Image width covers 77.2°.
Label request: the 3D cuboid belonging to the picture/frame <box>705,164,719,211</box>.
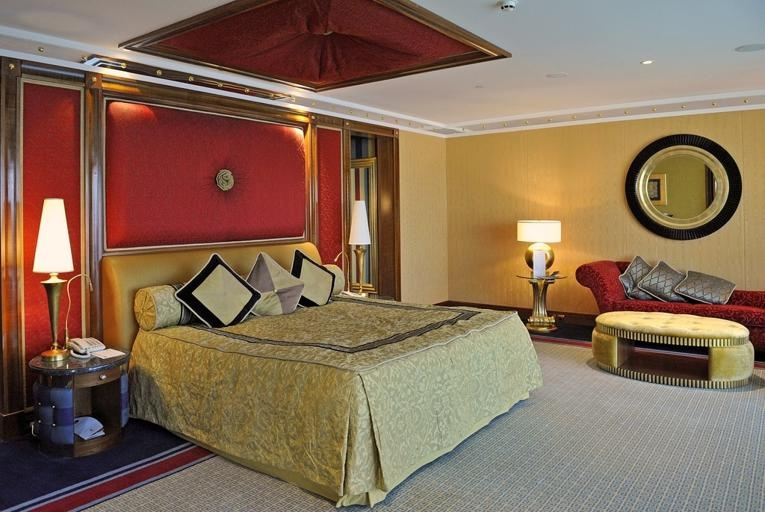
[{"bbox_3d":[4.640,-0.969,6.771,0.159,0.555,0.084,5,12,33],"label":"picture/frame"}]

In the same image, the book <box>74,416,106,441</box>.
[{"bbox_3d":[-2.466,1.433,3.963,0.202,0.057,0.150,6,6,33],"label":"book"}]

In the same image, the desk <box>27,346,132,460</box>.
[{"bbox_3d":[-2.475,1.122,4.140,0.827,0.803,0.892,2,4,28],"label":"desk"}]

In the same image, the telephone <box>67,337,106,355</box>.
[{"bbox_3d":[-2.559,0.762,4.074,0.207,0.064,0.155,9,9,33],"label":"telephone"}]

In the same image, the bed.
[{"bbox_3d":[-0.808,0.958,4.083,2.465,1.017,2.446,1,3,37],"label":"bed"}]

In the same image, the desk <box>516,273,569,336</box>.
[{"bbox_3d":[2.424,0.691,7.115,0.850,0.861,0.825,-2,1,-30],"label":"desk"}]

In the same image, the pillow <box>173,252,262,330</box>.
[{"bbox_3d":[-1.607,0.345,4.525,0.655,0.652,0.153,-46,3,-33],"label":"pillow"}]
